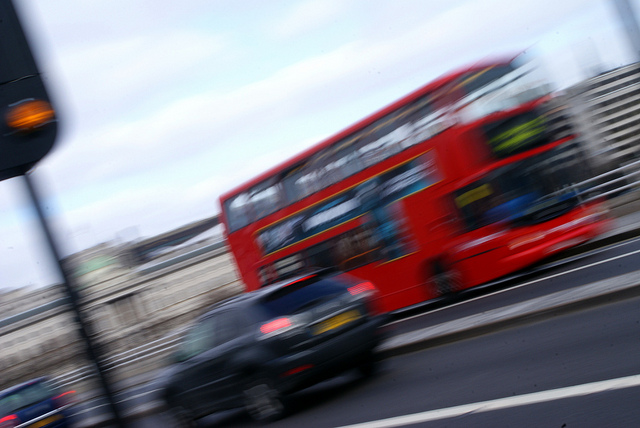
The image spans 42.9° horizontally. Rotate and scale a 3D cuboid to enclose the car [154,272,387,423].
[{"bbox_3d":[-0.831,2.051,12.472,3.472,2.389,1.094,-17,2,20],"label":"car"}]
